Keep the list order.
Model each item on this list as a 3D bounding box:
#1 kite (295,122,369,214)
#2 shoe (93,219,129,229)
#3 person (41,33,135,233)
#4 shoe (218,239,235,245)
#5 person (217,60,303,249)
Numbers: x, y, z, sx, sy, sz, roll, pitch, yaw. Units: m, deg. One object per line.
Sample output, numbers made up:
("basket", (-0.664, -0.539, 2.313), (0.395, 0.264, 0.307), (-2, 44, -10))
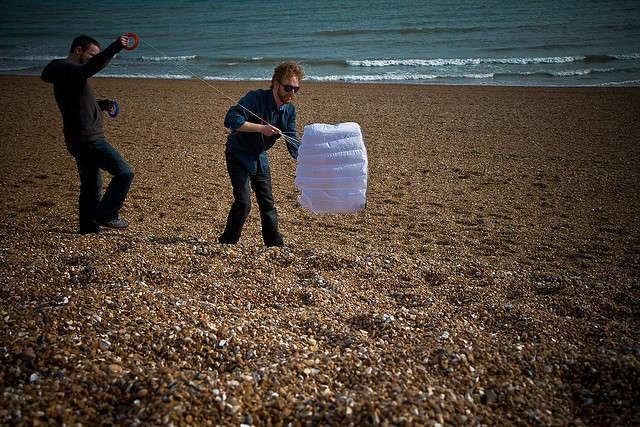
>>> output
("kite", (0.162, -0.676, 7.360), (1.051, 1.249, 0.721), (2, 19, 5))
("shoe", (-3.152, 0.141, 7.955), (0.440, 0.178, 0.138), (-5, 62, -23))
("person", (-3.330, -1.113, 7.562), (1.068, 2.916, 0.871), (-5, 25, -26))
("shoe", (-1.365, 0.406, 7.577), (0.235, 0.021, 0.073), (8, 21, 8))
("person", (-0.862, -0.767, 7.482), (1.051, 2.775, 0.865), (5, 22, -4))
